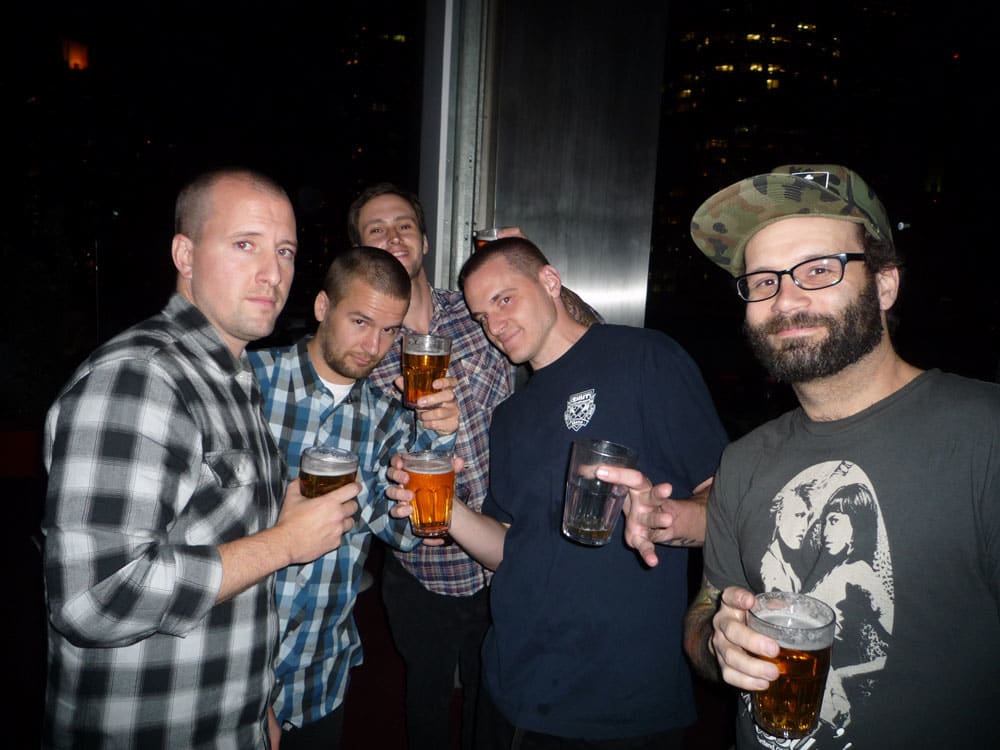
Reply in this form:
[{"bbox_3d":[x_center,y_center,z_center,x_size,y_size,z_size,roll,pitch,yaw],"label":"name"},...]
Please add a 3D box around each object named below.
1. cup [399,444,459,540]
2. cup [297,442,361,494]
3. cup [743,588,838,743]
[{"bbox_3d":[-0.267,0.458,3.095,0.293,0.402,0.266,3,7,9],"label":"cup"},{"bbox_3d":[-0.640,0.354,2.838,0.182,0.133,0.183,6,2,0],"label":"cup"},{"bbox_3d":[0.873,0.911,2.311,0.198,0.507,0.215,-3,1,0],"label":"cup"}]
